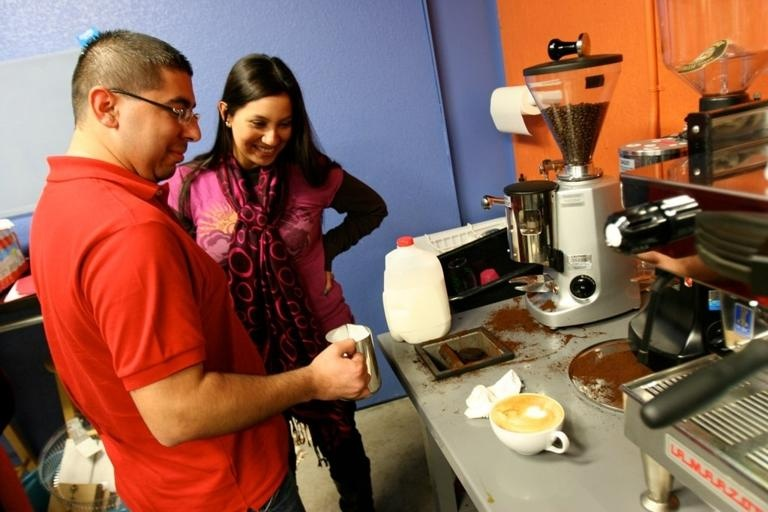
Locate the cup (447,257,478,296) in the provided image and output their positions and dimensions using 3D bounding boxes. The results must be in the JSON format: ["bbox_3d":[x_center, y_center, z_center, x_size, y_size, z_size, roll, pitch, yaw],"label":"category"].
[{"bbox_3d":[0.286,0.076,2.102,0.108,0.141,0.149,-24,4,-8],"label":"cup"}]

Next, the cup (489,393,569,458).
[{"bbox_3d":[0.371,0.435,1.403,0.180,0.077,0.159,-8,17,11],"label":"cup"}]

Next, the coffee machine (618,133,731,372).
[{"bbox_3d":[0.766,0.013,1.410,0.279,0.502,0.286,-12,8,3],"label":"coffee machine"}]
